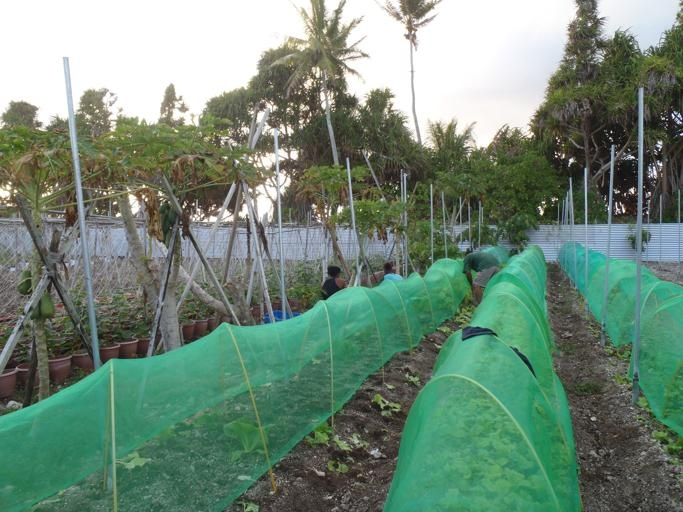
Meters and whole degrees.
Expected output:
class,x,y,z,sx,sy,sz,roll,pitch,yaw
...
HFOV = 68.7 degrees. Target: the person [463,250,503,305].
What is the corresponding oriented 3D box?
class,x,y,z,sx,sy,sz,roll,pitch,yaw
person,2.940,0.408,10.631,0.730,0.396,1.146,-8,20,-11
